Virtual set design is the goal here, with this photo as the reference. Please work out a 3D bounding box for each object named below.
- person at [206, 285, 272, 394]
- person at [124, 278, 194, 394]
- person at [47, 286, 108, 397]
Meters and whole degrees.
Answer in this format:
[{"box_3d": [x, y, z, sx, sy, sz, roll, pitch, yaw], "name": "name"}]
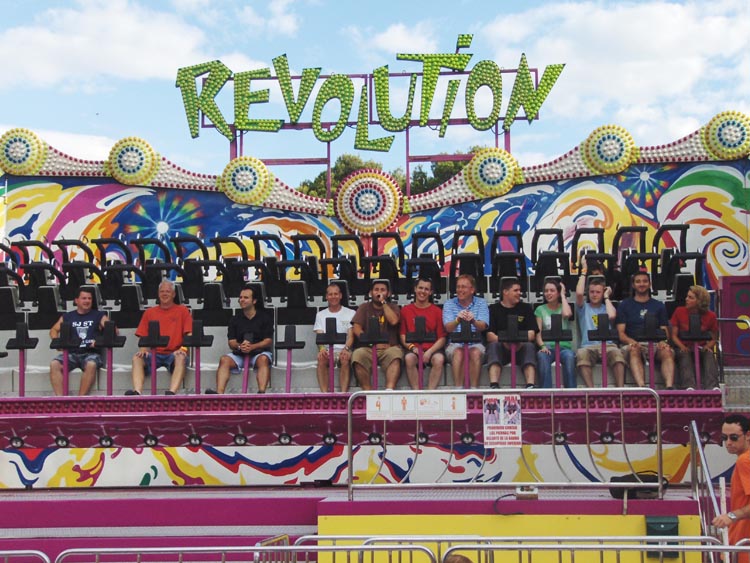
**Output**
[{"box_3d": [-1.489, 0.646, 22.044, 0.705, 1.223, 0.556, 1, -11, -12], "name": "person"}, {"box_3d": [-2.403, 0.593, 22.064, 0.689, 1.344, 0.773, 1, -11, -12], "name": "person"}, {"box_3d": [-3.353, 0.624, 22.225, 0.719, 1.297, 0.645, 4, -12, -27], "name": "person"}]
